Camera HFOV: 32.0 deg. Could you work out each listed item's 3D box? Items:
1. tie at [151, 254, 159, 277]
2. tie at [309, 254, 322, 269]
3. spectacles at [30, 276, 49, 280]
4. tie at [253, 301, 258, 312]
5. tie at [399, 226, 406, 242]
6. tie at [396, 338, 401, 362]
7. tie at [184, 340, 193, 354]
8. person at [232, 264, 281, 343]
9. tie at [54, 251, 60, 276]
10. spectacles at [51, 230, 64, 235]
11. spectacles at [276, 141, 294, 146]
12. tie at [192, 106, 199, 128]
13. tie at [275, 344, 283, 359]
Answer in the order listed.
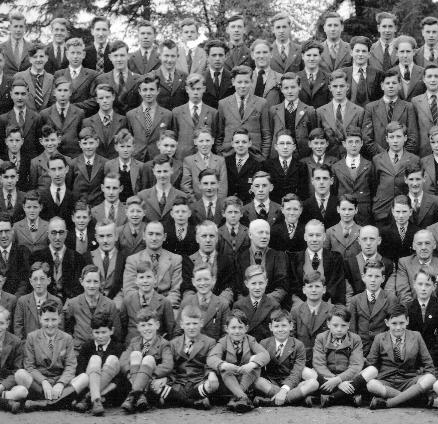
[{"bbox_3d":[-0.821,0.698,9.759,0.095,0.267,0.341,-2,7,-5],"label":"tie"},{"bbox_3d":[1.248,0.645,9.898,0.132,0.155,0.051,0,7,7],"label":"tie"},{"bbox_3d":[-2.164,0.797,9.163,0.136,0.049,0.035,-3,7,-14],"label":"spectacles"},{"bbox_3d":[0.437,1.140,9.214,0.023,0.072,0.075,34,23,-36],"label":"tie"},{"bbox_3d":[2.484,0.297,10.364,0.080,0.189,0.113,0,7,5],"label":"tie"},{"bbox_3d":[2.026,1.560,8.610,0.038,0.242,0.126,1,7,12],"label":"tie"},{"bbox_3d":[-0.351,1.544,8.714,0.100,0.127,0.047,-1,7,-3],"label":"tie"},{"bbox_3d":[0.436,1.095,9.211,0.543,0.879,0.380,1,8,19],"label":"person"},{"bbox_3d":[-2.100,0.663,9.890,0.067,0.264,0.160,-3,7,-12],"label":"tie"},{"bbox_3d":[-2.118,0.263,10.002,0.166,0.054,0.051,-4,8,-22],"label":"spectacles"},{"bbox_3d":[0.962,-1.004,11.154,0.237,0.070,0.071,0,7,5],"label":"spectacles"},{"bbox_3d":[-0.371,-1.481,11.786,0.080,0.292,0.051,-4,-20,7],"label":"tie"},{"bbox_3d":[0.679,1.584,8.688,0.044,0.121,0.119,3,8,28],"label":"tie"}]
